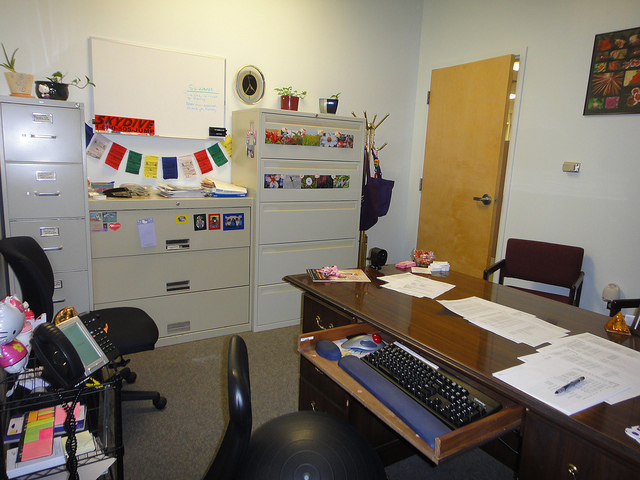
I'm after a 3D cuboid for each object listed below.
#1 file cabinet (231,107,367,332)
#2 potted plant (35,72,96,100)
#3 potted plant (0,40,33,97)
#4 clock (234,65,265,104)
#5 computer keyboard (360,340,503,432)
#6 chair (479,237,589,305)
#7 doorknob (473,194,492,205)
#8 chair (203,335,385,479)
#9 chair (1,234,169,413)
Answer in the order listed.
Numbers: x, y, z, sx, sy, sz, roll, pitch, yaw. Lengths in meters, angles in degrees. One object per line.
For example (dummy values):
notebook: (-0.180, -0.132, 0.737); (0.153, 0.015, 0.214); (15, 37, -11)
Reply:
file cabinet: (-0.147, -0.180, 3.893); (1.053, 1.855, 0.306); (-4, 12, -22)
potted plant: (-1.853, -1.110, 3.132); (0.248, 0.228, 0.456); (1, 11, 0)
potted plant: (-2.074, -1.167, 2.963); (0.155, 0.426, 0.547); (-8, 14, -36)
clock: (-0.646, -1.384, 3.871); (0.320, 0.344, 0.024); (-9, 15, -43)
computer keyboard: (0.422, 0.568, 1.749); (0.218, 0.141, 0.558); (-10, 16, -43)
chair: (1.664, 0.229, 3.300); (0.389, 0.567, 0.379); (8, 16, 30)
doorknob: (1.549, -0.390, 4.144); (0.102, 0.110, 0.075); (-8, 15, -20)
chair: (-0.096, 0.599, 1.713); (0.557, 0.601, 0.542); (-1, 18, -2)
chair: (-1.308, 0.431, 2.396); (0.683, 0.972, 0.759); (-4, 21, -19)
